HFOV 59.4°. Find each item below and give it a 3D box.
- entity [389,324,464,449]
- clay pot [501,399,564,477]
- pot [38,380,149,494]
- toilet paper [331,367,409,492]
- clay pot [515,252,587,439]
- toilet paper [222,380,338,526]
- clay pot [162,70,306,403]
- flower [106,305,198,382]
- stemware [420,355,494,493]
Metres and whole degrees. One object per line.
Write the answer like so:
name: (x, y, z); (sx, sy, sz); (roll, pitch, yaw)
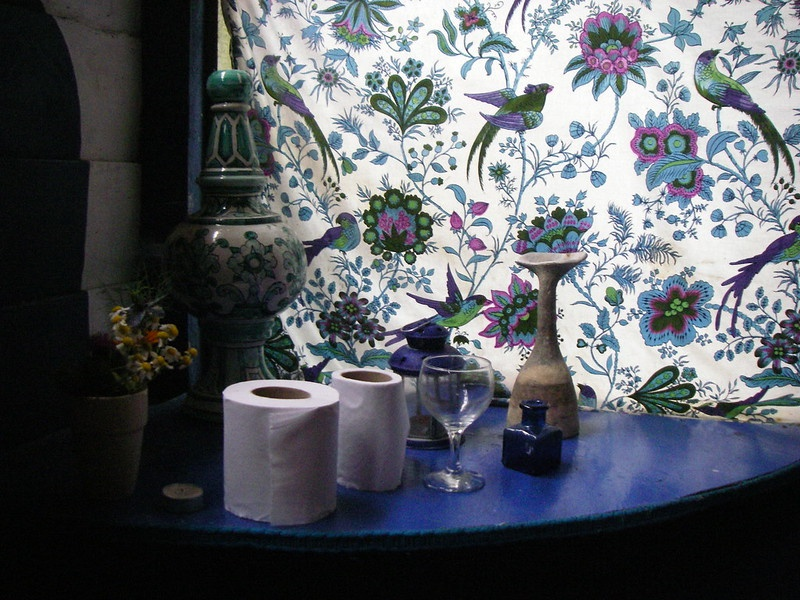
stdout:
entity: (0.063, 0.180, 1.500); (0.164, 0.239, 0.148); (10, -11, -40)
clay pot: (0.268, 0.267, 1.398); (0.126, 0.128, 0.123); (-1, 4, 0)
pot: (-0.509, 0.250, 1.224); (0.144, 0.172, 0.130); (0, -1, -22)
toilet paper: (-0.057, 0.241, 1.287); (0.141, 0.203, 0.068); (1, 13, -5)
clay pot: (0.314, 0.095, 1.482); (0.157, 0.391, 0.116); (4, 13, 8)
toilet paper: (-0.206, 0.259, 1.228); (0.203, 0.199, 0.210); (-2, 10, -29)
clay pot: (-0.387, -0.126, 1.505); (0.321, 0.711, 0.219); (12, 16, 38)
flower: (-0.445, 0.072, 1.264); (0.134, 0.125, 0.182); (-1, 12, -13)
stemware: (0.098, 0.216, 1.338); (0.132, 0.233, 0.196); (1, 12, -5)
